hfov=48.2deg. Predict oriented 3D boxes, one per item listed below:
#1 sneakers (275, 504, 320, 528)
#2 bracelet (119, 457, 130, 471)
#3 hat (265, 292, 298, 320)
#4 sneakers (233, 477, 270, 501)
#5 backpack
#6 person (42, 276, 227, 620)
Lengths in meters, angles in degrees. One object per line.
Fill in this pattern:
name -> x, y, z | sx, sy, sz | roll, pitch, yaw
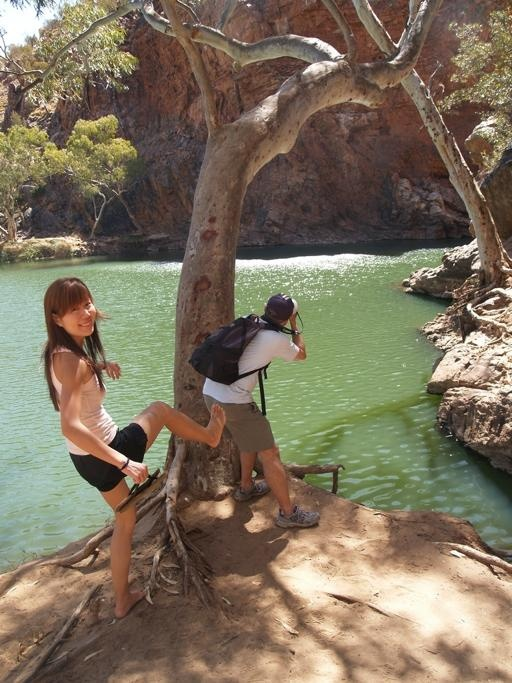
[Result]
sneakers -> 0.302, 1.276, 4.187 | 0.324, 0.146, 0.132 | -1, 9, -3
bracelet -> -0.638, 0.598, 2.821 | 0.017, 0.055, 0.045 | 39, 6, 29
hat -> 0.172, -0.254, 3.910 | 0.151, 0.112, 0.222 | 14, 38, 9
sneakers -> -0.022, 1.198, 4.635 | 0.290, 0.123, 0.115 | -16, 32, -19
backpack -> -0.095, 0.115, 3.899 | 0.552, 0.459, 0.350 | 19, -8, -15
person -> -0.759, 0.604, 3.171 | 0.766, 1.931, 0.890 | -1, 9, 16
